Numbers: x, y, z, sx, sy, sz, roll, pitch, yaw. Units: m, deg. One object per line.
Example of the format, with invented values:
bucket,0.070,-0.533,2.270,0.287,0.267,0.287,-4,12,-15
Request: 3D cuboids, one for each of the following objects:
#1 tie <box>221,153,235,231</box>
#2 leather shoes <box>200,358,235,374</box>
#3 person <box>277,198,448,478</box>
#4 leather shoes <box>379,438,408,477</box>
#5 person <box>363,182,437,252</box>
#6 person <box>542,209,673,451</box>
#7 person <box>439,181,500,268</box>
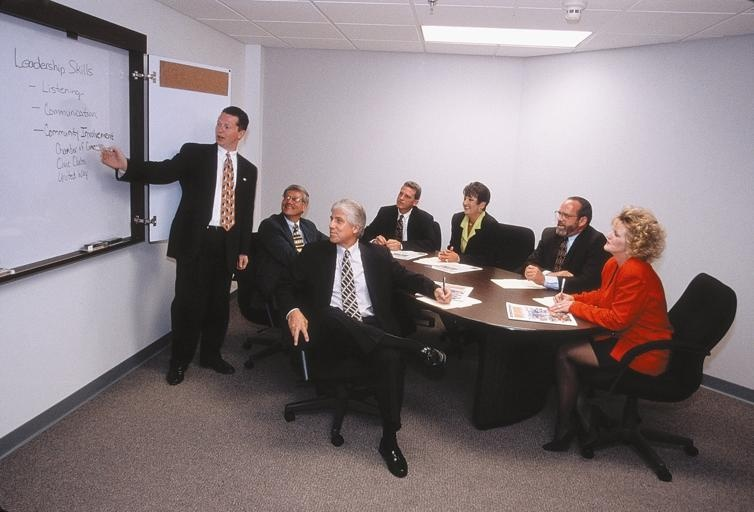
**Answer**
tie,-1.248,-0.540,4.286,0.116,0.612,0.207,1,17,-11
leather shoes,-1.390,0.938,4.559,0.335,0.144,0.126,5,7,15
person,-0.108,0.495,3.772,1.099,1.773,1.320,-9,12,-43
leather shoes,0.110,1.367,3.546,0.126,0.168,0.271,-4,13,-21
person,0.296,-0.433,5.636,0.773,1.039,0.578,8,4,25
person,1.686,0.527,3.763,0.864,1.743,0.546,3,16,-3
person,0.939,-0.328,5.193,0.536,0.806,0.548,11,16,39
